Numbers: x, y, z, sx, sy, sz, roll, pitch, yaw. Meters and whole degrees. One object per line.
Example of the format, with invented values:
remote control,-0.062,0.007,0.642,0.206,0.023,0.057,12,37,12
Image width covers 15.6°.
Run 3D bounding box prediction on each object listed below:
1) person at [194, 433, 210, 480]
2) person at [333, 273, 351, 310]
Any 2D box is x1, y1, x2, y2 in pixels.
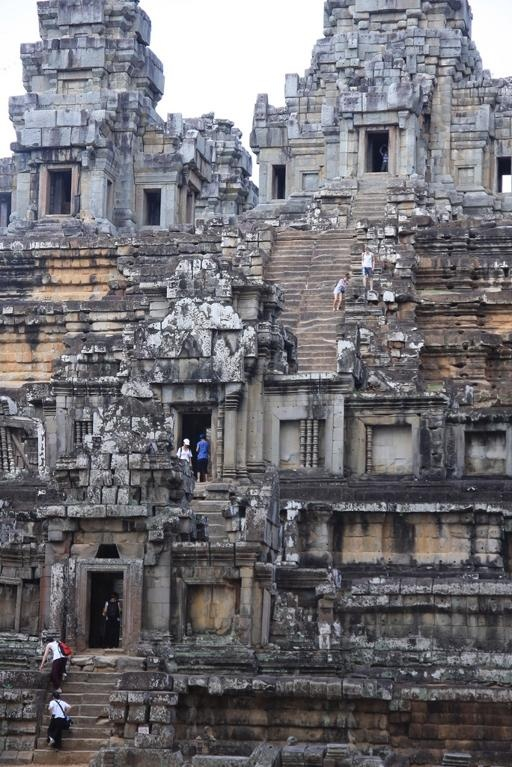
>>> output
person,-0.958,1.349,33.382,0.230,0.907,0.518,1,-9,0
person,1.847,-1.964,40.832,0.230,0.806,0.275,-16,-52,17
